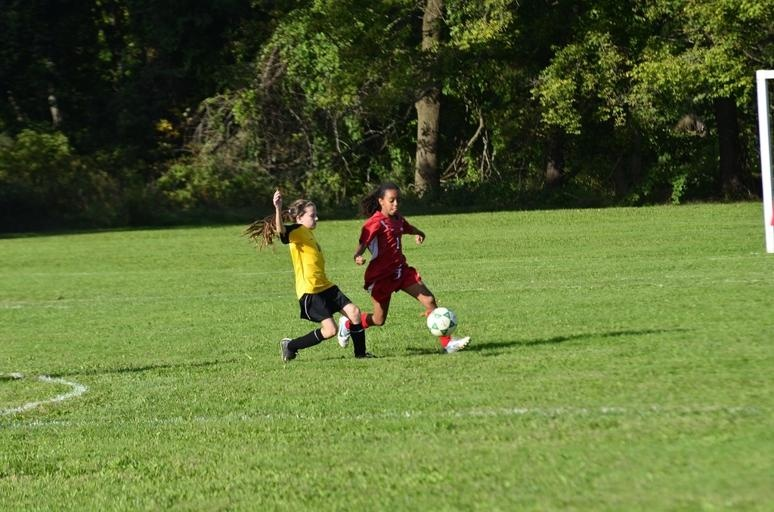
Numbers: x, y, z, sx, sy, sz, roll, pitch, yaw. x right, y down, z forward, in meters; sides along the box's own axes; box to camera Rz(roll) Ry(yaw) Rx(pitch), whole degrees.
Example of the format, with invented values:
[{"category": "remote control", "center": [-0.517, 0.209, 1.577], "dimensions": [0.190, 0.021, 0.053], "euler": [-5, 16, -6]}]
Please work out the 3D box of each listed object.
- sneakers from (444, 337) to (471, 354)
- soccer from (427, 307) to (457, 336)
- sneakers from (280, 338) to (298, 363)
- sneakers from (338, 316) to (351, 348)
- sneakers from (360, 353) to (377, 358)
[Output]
[{"category": "sneakers", "center": [1.078, 1.346, 15.294], "dimensions": [0.454, 0.165, 0.211], "euler": [-19, -52, 32]}, {"category": "soccer", "center": [0.834, 0.978, 15.511], "dimensions": [0.427, 0.413, 0.411], "euler": [20, -11, 12]}, {"category": "sneakers", "center": [-1.451, 1.403, 15.226], "dimensions": [0.179, 0.406, 0.153], "euler": [3, 11, 23]}, {"category": "sneakers", "center": [-0.650, 1.143, 15.402], "dimensions": [0.192, 0.451, 0.213], "euler": [-4, 13, -6]}, {"category": "sneakers", "center": [-0.268, 1.479, 15.320], "dimensions": [0.252, 0.101, 0.082], "euler": [7, -12, -11]}]
